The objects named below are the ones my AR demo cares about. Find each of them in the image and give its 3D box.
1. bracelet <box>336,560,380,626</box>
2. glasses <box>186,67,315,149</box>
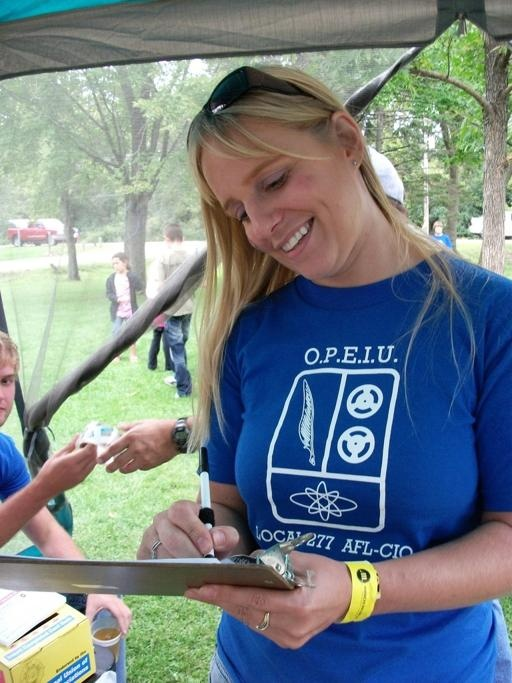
[{"bbox_3d":[0.185,0.440,1.089,0.079,0.099,0.097,-1,2,-12],"label":"bracelet"},{"bbox_3d":[-0.011,-0.460,1.199,0.145,0.115,0.175,-15,29,-39],"label":"glasses"}]
